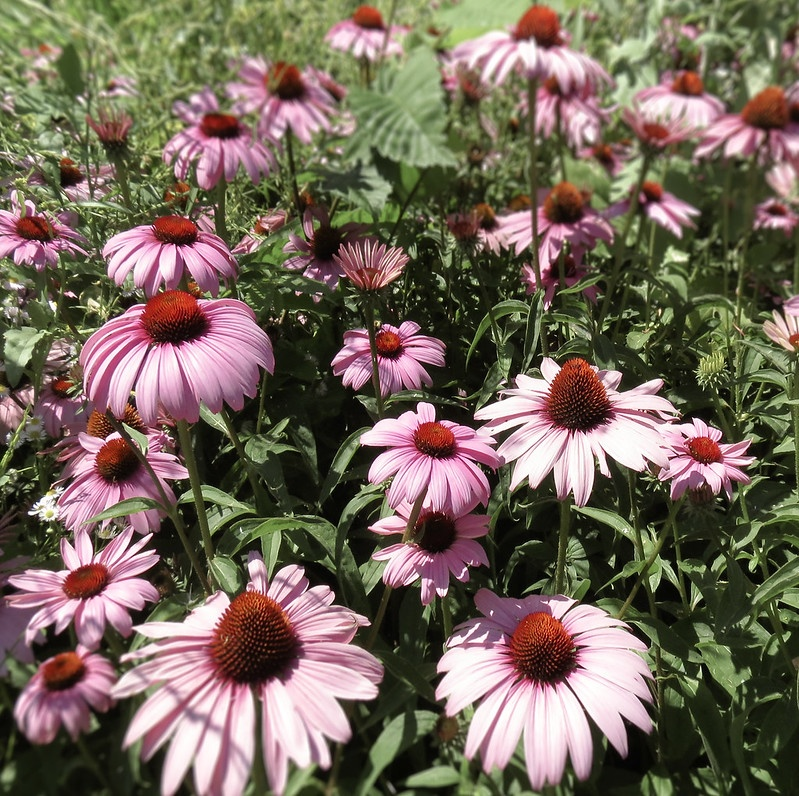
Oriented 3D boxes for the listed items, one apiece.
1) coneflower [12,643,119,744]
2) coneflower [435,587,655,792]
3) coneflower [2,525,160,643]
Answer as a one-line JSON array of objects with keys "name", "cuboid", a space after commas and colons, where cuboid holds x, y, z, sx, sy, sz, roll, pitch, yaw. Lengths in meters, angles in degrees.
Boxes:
[{"name": "coneflower", "cuboid": [-0.747, 0.680, 1.812, 0.205, 0.150, 0.189, 2, 45, -8]}, {"name": "coneflower", "cuboid": [0.274, 0.567, 1.591, 0.367, 0.149, 0.375, 18, 42, 33]}, {"name": "coneflower", "cuboid": [-0.715, 0.445, 1.839, 0.271, 0.084, 0.289, -23, 48, -23]}]
